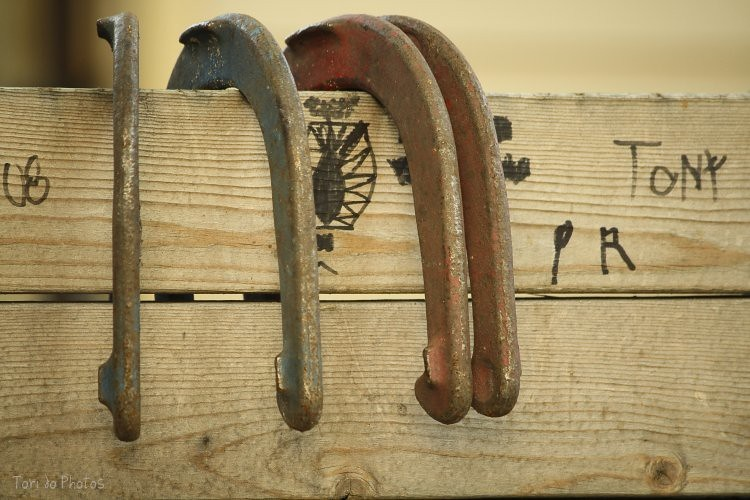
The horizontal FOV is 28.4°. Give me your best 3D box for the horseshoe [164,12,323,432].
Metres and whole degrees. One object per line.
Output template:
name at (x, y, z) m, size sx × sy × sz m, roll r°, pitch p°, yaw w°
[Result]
horseshoe at (-0.376, -0.053, 4.240) m, size 0.218 × 1.205 × 0.572 m, roll -3°, pitch -2°, yaw -42°
